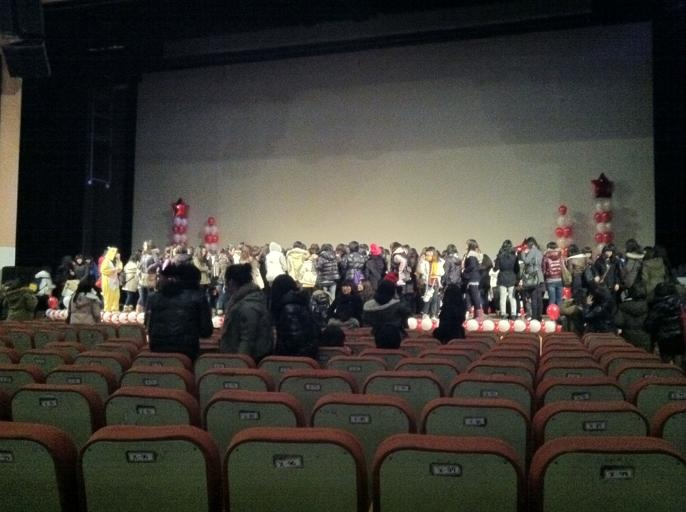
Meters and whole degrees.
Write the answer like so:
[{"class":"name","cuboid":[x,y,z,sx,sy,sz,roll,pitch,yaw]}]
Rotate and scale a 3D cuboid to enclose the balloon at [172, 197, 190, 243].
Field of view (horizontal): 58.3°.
[{"class":"balloon","cuboid":[-5.441,-1.180,20.330,0.536,1.492,0.452,0,-1,23]}]
